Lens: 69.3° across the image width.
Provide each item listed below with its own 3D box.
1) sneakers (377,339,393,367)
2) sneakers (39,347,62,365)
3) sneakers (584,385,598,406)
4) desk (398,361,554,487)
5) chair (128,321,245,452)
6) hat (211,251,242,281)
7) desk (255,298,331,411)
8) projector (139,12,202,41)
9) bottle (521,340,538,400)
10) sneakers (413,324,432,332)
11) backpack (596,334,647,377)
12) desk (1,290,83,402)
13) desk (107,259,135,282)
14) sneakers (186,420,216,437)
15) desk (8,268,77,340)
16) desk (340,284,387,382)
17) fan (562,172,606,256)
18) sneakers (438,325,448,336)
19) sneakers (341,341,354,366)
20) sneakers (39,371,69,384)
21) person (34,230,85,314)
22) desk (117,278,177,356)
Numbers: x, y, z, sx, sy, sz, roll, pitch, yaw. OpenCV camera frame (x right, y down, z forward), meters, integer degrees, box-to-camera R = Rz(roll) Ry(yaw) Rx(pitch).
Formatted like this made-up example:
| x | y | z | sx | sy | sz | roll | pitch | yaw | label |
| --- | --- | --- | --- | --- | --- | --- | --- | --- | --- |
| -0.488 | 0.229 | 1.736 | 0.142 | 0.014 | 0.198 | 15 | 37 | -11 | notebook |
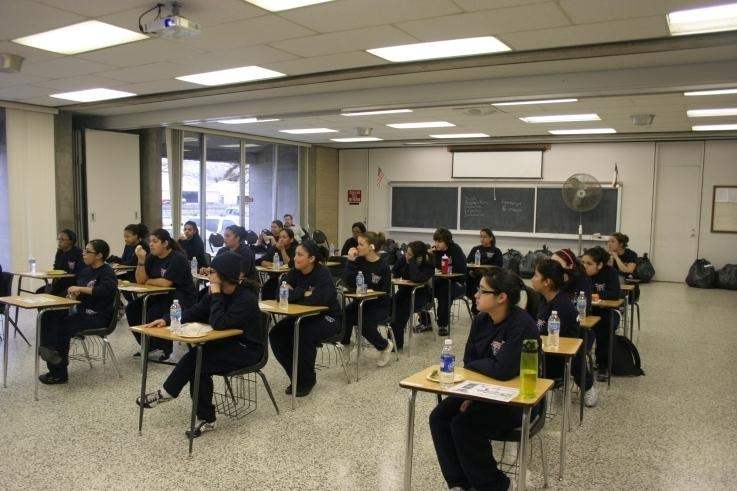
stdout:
| x | y | z | sx | sy | sz | roll | pitch | yaw | label |
| --- | --- | --- | --- | --- | --- | --- | --- | --- | --- |
| 0.219 | 1.447 | 7.113 | 0.169 | 0.369 | 0.152 | 1 | 18 | -7 | sneakers |
| -3.593 | 1.241 | 6.044 | 0.205 | 0.090 | 0.199 | 41 | -11 | -25 | sneakers |
| 2.492 | 1.694 | 5.995 | 0.381 | 0.186 | 0.078 | -1 | -1 | -38 | sneakers |
| 0.903 | 1.350 | 4.459 | 1.185 | 0.980 | 1.101 | 2 | 1 | 31 | desk |
| -1.850 | 1.290 | 5.674 | 1.246 | 1.423 | 1.284 | 1 | 2 | -22 | chair |
| -1.422 | 0.213 | 5.364 | 0.338 | 0.273 | 0.249 | -5 | 0 | 32 | hat |
| -0.865 | 1.241 | 6.065 | 1.367 | 1.093 | 0.636 | 0 | -2 | 40 | desk |
| -2.089 | -2.346 | 5.781 | 0.362 | 0.126 | 0.354 | 2 | 1 | 39 | projector |
| 1.238 | 0.931 | 4.137 | 0.146 | 0.388 | 0.485 | 6 | 14 | 19 | bottle |
| 0.878 | 1.365 | 8.749 | 0.323 | 0.119 | 0.104 | 4 | -6 | -25 | sneakers |
| 3.198 | 1.417 | 6.939 | 0.650 | 0.576 | 0.467 | -1 | -1 | 12 | backpack |
| -3.887 | 1.240 | 6.387 | 1.260 | 1.279 | 0.946 | 2 | 0 | 39 | desk |
| -3.921 | 0.399 | 8.429 | 0.527 | 0.231 | 0.323 | 2 | 0 | 35 | desk |
| -1.645 | 1.802 | 5.228 | 0.116 | 0.125 | 0.322 | -5 | -7 | 36 | sneakers |
| -4.341 | 0.799 | 7.109 | 1.125 | 0.494 | 0.782 | 2 | 0 | 45 | desk |
| -0.075 | 1.107 | 6.878 | 0.522 | 1.097 | 0.977 | 1 | 14 | 2 | desk |
| 5.088 | -0.733 | 12.886 | 0.906 | 2.034 | 1.407 | 5 | 15 | 16 | fan |
| 1.179 | 1.356 | 8.502 | 0.172 | 0.143 | 0.161 | 0 | -5 | -1 | sneakers |
| -0.289 | 1.456 | 7.226 | 0.107 | 0.125 | 0.293 | 0 | 24 | 5 | sneakers |
| -3.698 | 1.553 | 6.304 | 0.333 | 0.116 | 0.135 | 6 | 2 | -8 | sneakers |
| -4.531 | 0.450 | 7.858 | 0.665 | 1.253 | 0.719 | 1 | 8 | 15 | person |
| -2.758 | 0.893 | 6.687 | 0.574 | 0.715 | 1.144 | 1 | -1 | -37 | desk |
